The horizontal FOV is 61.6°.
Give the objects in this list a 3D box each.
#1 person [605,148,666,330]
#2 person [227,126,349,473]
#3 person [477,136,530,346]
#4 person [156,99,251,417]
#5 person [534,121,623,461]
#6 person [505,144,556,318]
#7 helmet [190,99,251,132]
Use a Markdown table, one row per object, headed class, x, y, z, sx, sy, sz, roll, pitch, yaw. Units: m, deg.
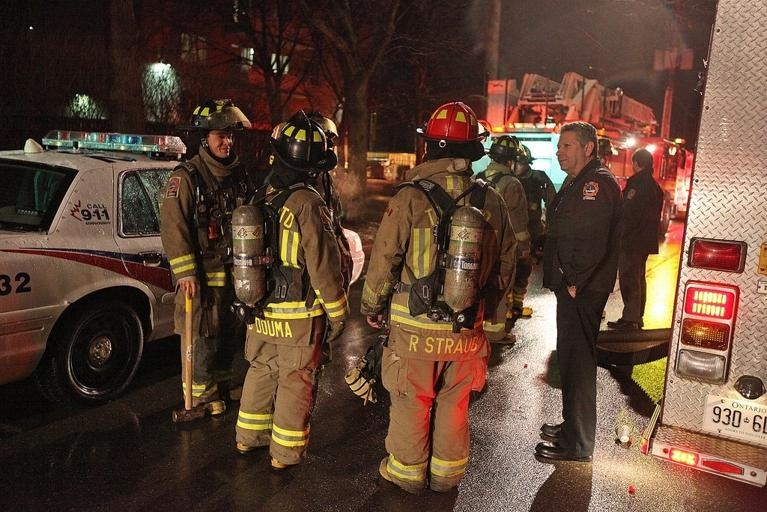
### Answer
| class | x | y | z | sx | sy | sz | roll | pitch | yaw |
| --- | --- | --- | --- | --- | --- | --- | --- | --- | --- |
| person | 3.490 | -0.210 | 9.066 | 0.856 | 2.545 | 0.911 | 4 | 5 | 22 |
| person | -0.743 | 0.339 | 5.733 | 0.892 | 2.933 | 1.123 | -3 | 7 | -43 |
| person | 1.724 | -0.342 | 8.582 | 0.691 | 2.552 | 0.899 | -19 | 27 | -20 |
| person | -1.697 | 0.036 | 6.251 | 1.011 | 2.902 | 1.080 | 5 | 8 | 26 |
| person | 1.731 | 0.322 | 5.732 | 0.614 | 2.970 | 0.720 | 4 | 10 | 1 |
| person | 2.281 | -0.317 | 9.640 | 0.817 | 2.577 | 1.052 | 0 | 13 | 6 |
| helmet | -1.526 | -1.312 | 6.028 | 0.523 | 0.287 | 0.305 | 0 | 11 | -17 |
